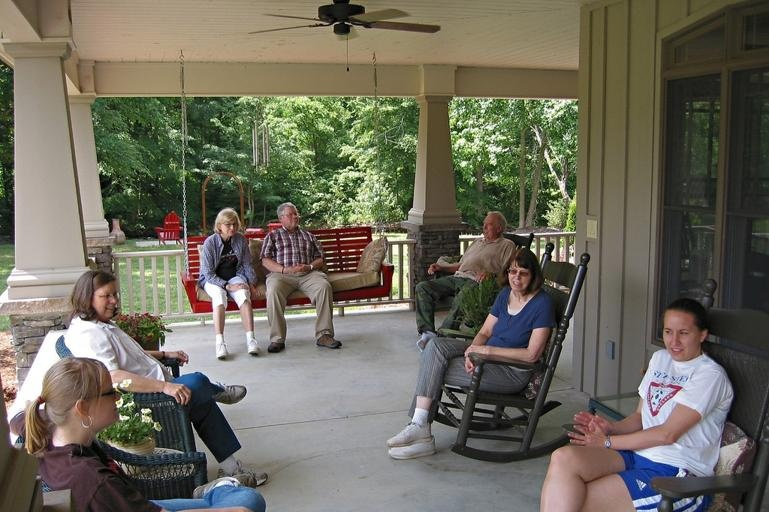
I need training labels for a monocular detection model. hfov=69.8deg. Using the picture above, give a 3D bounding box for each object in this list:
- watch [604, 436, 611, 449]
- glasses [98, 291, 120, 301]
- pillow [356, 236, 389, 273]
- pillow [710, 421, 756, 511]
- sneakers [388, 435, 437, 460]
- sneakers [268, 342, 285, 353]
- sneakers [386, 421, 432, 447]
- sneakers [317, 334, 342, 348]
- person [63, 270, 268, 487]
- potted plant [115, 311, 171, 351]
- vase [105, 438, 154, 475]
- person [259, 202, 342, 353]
[{"bbox_3d":[1.277,1.070,3.155,0.040,0.061,0.055,0,-16,8],"label":"watch"},{"bbox_3d":[-1.874,0.278,3.768,0.032,0.072,0.112,7,13,34],"label":"glasses"},{"bbox_3d":[-0.178,-0.017,7.672,0.247,0.408,0.443,-2,-11,-33],"label":"pillow"},{"bbox_3d":[1.873,1.148,2.979,0.125,0.410,0.410,11,-9,-2],"label":"pillow"},{"bbox_3d":[0.238,1.493,4.300,0.391,0.151,0.137,-1,2,-18],"label":"sneakers"},{"bbox_3d":[-1.299,1.104,6.629,0.084,0.090,0.232,-3,-11,13],"label":"sneakers"},{"bbox_3d":[0.207,1.382,4.302,0.395,0.166,0.144,-6,0,-15],"label":"sneakers"},{"bbox_3d":[-0.680,1.046,6.804,0.273,0.104,0.145,0,4,34],"label":"sneakers"},{"bbox_3d":[-1.587,0.886,3.962,1.260,1.559,0.744,-2,-2,-26],"label":"person"},{"bbox_3d":[-2.193,0.637,5.035,0.411,0.282,0.403,1,-1,-27],"label":"potted plant"},{"bbox_3d":[-1.538,1.187,3.349,0.271,0.188,0.268,0,-3,-1],"label":"vase"},{"bbox_3d":[-1.091,0.211,7.050,0.907,1.708,1.116,-4,11,-14],"label":"person"}]
